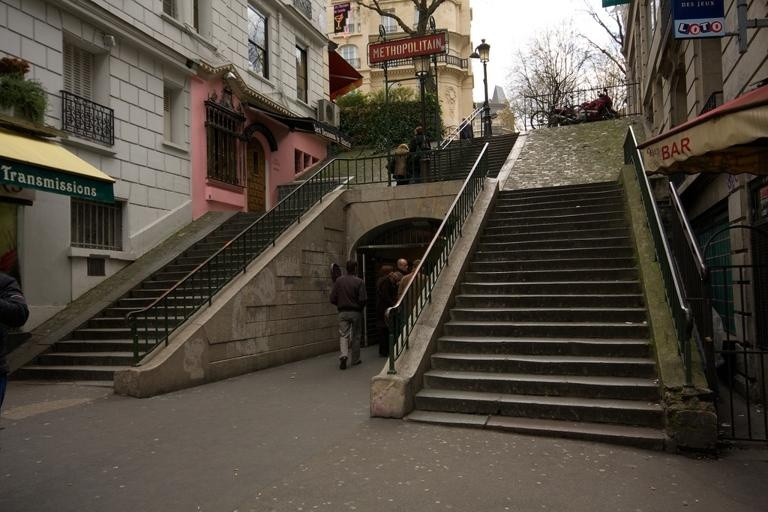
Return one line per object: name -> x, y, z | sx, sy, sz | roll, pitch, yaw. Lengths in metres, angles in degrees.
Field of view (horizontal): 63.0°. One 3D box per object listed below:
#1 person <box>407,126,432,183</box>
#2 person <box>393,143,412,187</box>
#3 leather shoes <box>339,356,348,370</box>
person -> 1.046, -3.000, 18.503 | 0.597, 1.622, 1.424 | 0, 9, 2
person -> 0.522, -2.733, 18.567 | 0.489, 1.180, 0.925 | -1, 9, -5
leather shoes -> -0.910, 2.400, 13.747 | 0.122, 0.394, 0.278 | 4, 48, -2
